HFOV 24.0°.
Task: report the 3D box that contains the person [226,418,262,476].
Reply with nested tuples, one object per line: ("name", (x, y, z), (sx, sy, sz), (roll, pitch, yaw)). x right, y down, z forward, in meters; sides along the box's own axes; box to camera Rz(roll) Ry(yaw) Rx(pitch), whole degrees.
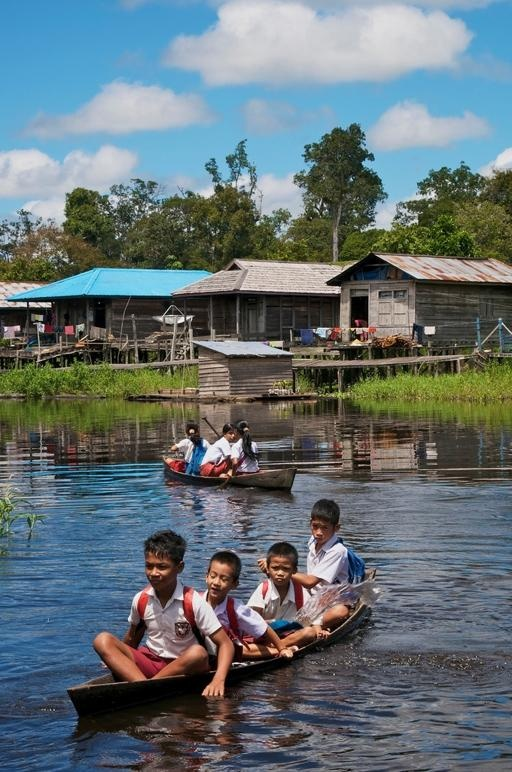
("person", (-0.146, 0.807, 15.091), (0.456, 0.727, 0.558), (0, 25, -1))

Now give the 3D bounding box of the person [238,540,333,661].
("person", (0.177, 1.398, 8.114), (0.748, 0.917, 0.645), (-3, 6, -13))

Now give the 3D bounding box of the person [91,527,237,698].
("person", (-0.549, 1.364, 7.164), (0.836, 0.991, 0.477), (-2, 0, -3))

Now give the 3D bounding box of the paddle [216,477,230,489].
("paddle", (-0.383, 1.226, 15.033), (0.073, 0.032, 0.222), (17, -32, -13))

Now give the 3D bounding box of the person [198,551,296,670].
("person", (-0.041, 1.480, 7.778), (0.738, 0.502, 0.388), (-7, -6, 36))

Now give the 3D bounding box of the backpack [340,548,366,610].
("backpack", (0.727, 1.380, 8.762), (0.242, 0.323, 0.341), (0, 4, 7))
